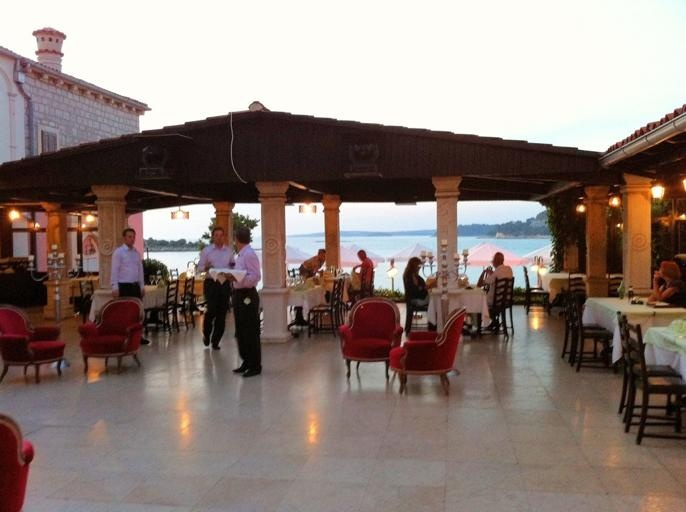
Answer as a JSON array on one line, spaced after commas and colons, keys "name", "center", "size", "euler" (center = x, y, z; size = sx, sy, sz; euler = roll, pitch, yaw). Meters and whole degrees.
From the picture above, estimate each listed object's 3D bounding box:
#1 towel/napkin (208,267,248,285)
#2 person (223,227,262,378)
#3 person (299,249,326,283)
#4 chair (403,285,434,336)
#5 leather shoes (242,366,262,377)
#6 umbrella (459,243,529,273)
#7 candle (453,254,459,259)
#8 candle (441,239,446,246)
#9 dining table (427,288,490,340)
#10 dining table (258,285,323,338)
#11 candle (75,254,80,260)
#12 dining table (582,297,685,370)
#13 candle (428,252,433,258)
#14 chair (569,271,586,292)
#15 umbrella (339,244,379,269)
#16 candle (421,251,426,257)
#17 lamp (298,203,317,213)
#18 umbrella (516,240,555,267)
[{"name": "towel/napkin", "center": [-1.865, 0.320, 8.969], "size": [0.637, 0.258, 0.473], "euler": [3, 6, 43]}, {"name": "person", "center": [-1.580, 0.747, 9.190], "size": [0.501, 2.414, 0.710], "euler": [-1, 4, -9]}, {"name": "person", "center": [-0.841, 0.304, 15.800], "size": [0.529, 1.162, 0.313], "euler": [11, 31, -20]}, {"name": "chair", "center": [1.560, 1.129, 12.132], "size": [0.759, 1.513, 0.877], "euler": [0, 1, 5]}, {"name": "leather shoes", "center": [-1.481, 1.893, 9.295], "size": [0.329, 0.157, 0.116], "euler": [-1, -2, -15]}, {"name": "umbrella", "center": [4.621, -0.029, 18.079], "size": [1.536, 0.556, 1.564], "euler": [-2, -5, 30]}, {"name": "candle", "center": [2.335, -0.004, 11.624], "size": [0.076, 0.089, 0.086], "euler": [2, 0, 10]}, {"name": "candle", "center": [1.898, -0.252, 10.624], "size": [0.117, 0.126, 0.129], "euler": [1, -1, 10]}, {"name": "dining table", "center": [2.212, 1.077, 10.901], "size": [0.968, 0.614, 1.024], "euler": [0, 4, 11]}, {"name": "dining table", "center": [-1.138, 1.183, 12.455], "size": [0.833, 1.146, 1.680], "euler": [1, 4, 22]}, {"name": "candle", "center": [-6.449, 0.016, 13.786], "size": [0.089, 0.122, 0.169], "euler": [2, -5, -25]}, {"name": "dining table", "center": [4.521, 1.412, 8.890], "size": [0.844, 0.384, 1.394], "euler": [-1, 3, -1]}, {"name": "candle", "center": [1.918, -0.029, 12.410], "size": [0.092, 0.144, 0.139], "euler": [4, -2, 7]}, {"name": "chair", "center": [6.161, 0.677, 14.889], "size": [0.373, 0.691, 0.435], "euler": [-2, -7, 14]}, {"name": "umbrella", "center": [0.565, 0.016, 20.548], "size": [1.037, 0.530, 1.079], "euler": [2, 2, -14]}, {"name": "candle", "center": [1.791, -0.044, 12.549], "size": [0.102, 0.129, 0.108], "euler": [0, -6, -3]}, {"name": "lamp", "center": [-1.008, -1.340, 15.987], "size": [0.492, 0.251, 0.580], "euler": [-1, 4, -8]}, {"name": "umbrella", "center": [6.704, 0.017, 19.510], "size": [1.384, 0.819, 1.481], "euler": [0, -1, 11]}]
